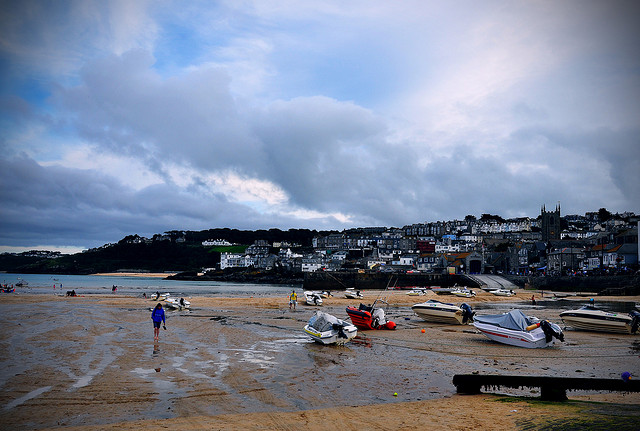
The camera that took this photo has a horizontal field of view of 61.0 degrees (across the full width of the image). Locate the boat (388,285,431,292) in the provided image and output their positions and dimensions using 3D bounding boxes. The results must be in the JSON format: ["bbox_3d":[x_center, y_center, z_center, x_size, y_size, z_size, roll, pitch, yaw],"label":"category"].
[{"bbox_3d":[13.096,10.735,80.678,6.778,0.934,23.431,-1,-7,11],"label":"boat"}]

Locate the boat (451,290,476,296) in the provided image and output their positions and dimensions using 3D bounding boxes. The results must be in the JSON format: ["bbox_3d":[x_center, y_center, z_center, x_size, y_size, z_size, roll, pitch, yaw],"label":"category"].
[{"bbox_3d":[17.073,9.091,64.201,1.934,0.432,0.876,-1,-2,25],"label":"boat"}]

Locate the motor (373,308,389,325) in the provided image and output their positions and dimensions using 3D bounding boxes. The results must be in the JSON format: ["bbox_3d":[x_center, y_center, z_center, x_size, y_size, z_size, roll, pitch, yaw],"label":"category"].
[{"bbox_3d":[3.851,6.369,34.481,0.996,0.962,0.477,6,-10,-33],"label":"motor"}]

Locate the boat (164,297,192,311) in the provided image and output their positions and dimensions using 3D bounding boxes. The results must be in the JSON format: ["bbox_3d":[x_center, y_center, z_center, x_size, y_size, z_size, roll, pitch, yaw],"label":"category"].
[{"bbox_3d":[-11.702,7.317,45.809,1.491,0.444,1.443,1,5,-43],"label":"boat"}]

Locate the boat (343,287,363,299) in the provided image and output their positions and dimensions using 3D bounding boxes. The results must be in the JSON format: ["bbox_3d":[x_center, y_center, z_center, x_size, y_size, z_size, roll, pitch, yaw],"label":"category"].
[{"bbox_3d":[4.040,9.401,64.322,2.260,1.170,2.843,0,-10,21],"label":"boat"}]

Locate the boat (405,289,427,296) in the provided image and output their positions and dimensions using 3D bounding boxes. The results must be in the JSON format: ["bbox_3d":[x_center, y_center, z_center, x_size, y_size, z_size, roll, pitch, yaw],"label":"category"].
[{"bbox_3d":[12.427,9.755,68.909,1.657,0.532,0.895,-2,-1,-2],"label":"boat"}]

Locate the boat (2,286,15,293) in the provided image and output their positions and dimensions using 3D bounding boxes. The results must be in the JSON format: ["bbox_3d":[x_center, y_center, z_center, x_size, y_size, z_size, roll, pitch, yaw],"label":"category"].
[{"bbox_3d":[-39.731,9.429,69.160,1.380,0.462,0.623,18,-19,-15],"label":"boat"}]

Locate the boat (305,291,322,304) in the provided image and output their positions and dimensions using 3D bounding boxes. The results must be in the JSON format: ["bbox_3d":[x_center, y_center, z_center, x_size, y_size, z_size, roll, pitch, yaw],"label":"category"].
[{"bbox_3d":[-0.631,7.950,53.051,1.300,0.934,2.233,1,-7,-4],"label":"boat"}]

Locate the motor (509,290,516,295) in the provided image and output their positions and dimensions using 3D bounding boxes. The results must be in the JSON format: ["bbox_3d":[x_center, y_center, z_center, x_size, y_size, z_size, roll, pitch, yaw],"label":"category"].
[{"bbox_3d":[24.829,9.818,69.872,1.238,0.424,1.296,8,-5,-13],"label":"motor"}]

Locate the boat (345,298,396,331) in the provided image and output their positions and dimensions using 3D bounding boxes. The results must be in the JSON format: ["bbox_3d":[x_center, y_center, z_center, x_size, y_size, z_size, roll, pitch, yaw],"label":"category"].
[{"bbox_3d":[3.665,6.513,35.213,3.487,1.861,2.304,9,-12,-6],"label":"boat"}]

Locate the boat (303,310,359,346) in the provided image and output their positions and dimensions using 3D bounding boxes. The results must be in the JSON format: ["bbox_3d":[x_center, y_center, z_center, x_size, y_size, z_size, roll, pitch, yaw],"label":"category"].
[{"bbox_3d":[0.582,6.248,30.145,2.614,1.703,1.335,1,-8,-1],"label":"boat"}]

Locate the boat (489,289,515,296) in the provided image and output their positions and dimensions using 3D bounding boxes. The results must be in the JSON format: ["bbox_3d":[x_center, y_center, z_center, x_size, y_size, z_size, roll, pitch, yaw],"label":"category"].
[{"bbox_3d":[22.538,9.516,67.484,2.264,0.517,1.104,-1,-2,41],"label":"boat"}]

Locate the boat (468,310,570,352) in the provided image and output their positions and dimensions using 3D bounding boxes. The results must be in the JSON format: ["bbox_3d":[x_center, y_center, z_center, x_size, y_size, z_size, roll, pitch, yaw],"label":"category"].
[{"bbox_3d":[10.842,6.235,29.922,4.210,2.051,1.365,-3,-9,28],"label":"boat"}]

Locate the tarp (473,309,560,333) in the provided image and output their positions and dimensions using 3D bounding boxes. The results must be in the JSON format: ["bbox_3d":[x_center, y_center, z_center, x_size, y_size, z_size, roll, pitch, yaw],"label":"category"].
[{"bbox_3d":[10.987,6.118,30.078,4.567,1.032,1.481,1,3,40],"label":"tarp"}]

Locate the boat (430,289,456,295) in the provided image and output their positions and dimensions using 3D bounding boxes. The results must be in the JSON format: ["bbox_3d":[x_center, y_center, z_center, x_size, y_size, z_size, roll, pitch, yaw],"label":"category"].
[{"bbox_3d":[15.493,9.496,68.211,3.155,0.569,0.871,1,-11,7],"label":"boat"}]

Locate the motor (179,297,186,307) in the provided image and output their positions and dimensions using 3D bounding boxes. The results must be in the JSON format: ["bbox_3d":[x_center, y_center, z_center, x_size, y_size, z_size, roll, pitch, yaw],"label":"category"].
[{"bbox_3d":[-11.448,7.191,45.132,0.380,0.512,0.209,1,-4,-34],"label":"motor"}]

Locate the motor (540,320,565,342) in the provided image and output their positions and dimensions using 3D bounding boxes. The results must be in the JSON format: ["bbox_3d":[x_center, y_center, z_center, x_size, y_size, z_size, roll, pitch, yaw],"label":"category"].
[{"bbox_3d":[12.598,6.121,29.285,1.365,0.438,0.990,33,29,28],"label":"motor"}]

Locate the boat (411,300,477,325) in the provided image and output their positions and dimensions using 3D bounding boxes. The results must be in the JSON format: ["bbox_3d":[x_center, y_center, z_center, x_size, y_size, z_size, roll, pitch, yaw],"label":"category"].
[{"bbox_3d":[8.646,6.489,36.695,3.215,0.964,1.758,0,-4,39],"label":"boat"}]

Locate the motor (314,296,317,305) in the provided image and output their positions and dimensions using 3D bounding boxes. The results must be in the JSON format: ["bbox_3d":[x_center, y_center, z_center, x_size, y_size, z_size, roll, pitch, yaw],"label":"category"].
[{"bbox_3d":[-0.418,8.123,52.395,0.422,0.646,0.171,-5,-10,33],"label":"motor"}]

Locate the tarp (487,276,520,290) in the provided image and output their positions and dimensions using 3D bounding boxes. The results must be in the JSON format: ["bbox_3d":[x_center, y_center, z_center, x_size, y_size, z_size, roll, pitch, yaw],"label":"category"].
[{"bbox_3d":[28.129,10.099,83.258,3.783,1.814,10.016,-1,-7,13],"label":"tarp"}]

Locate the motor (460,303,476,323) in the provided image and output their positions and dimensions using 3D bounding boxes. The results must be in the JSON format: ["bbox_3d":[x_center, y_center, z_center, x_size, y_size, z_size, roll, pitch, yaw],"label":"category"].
[{"bbox_3d":[9.705,6.374,35.611,0.584,1.223,0.894,4,-9,-21],"label":"motor"}]
